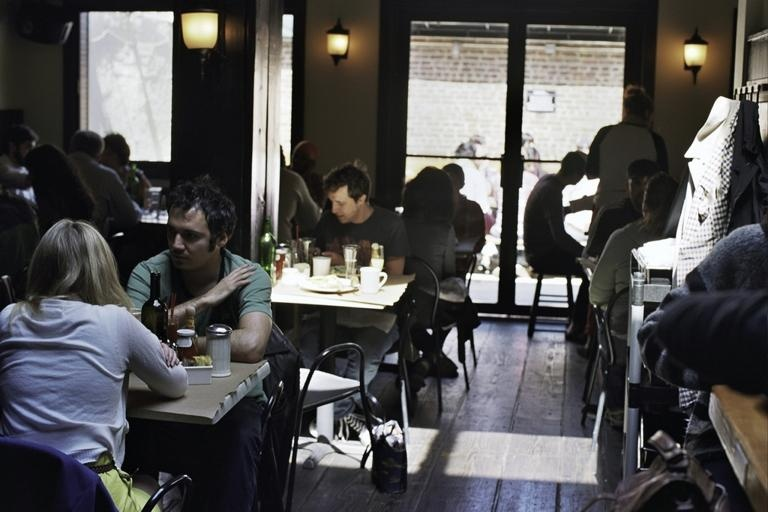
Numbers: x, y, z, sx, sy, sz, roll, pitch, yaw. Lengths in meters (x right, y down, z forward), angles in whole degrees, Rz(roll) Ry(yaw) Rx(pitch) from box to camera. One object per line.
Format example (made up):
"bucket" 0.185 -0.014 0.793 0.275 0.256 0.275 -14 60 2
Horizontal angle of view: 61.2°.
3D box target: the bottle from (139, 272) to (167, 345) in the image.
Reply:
"bottle" -0.960 0.190 2.705 0.101 0.281 0.246 -2 10 -22

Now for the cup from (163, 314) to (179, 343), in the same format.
"cup" -0.870 0.288 2.644 0.044 0.117 0.179 -1 10 -19

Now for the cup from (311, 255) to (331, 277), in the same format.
"cup" -0.404 0.057 4.252 0.105 0.127 0.119 3 10 16

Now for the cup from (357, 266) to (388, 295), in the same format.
"cup" -0.070 0.143 3.973 0.166 0.149 0.118 4 5 3

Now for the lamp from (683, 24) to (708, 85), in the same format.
"lamp" 3.136 -2.017 6.552 0.237 0.542 0.086 1 8 -6

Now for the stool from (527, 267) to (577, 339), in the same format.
"stool" 1.757 0.498 6.843 0.526 0.881 0.584 1 -3 3

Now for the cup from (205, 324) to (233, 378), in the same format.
"cup" -0.670 0.373 2.635 0.092 0.205 0.124 0 9 -15

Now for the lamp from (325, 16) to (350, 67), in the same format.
"lamp" -0.505 -2.297 6.987 0.222 0.484 0.078 3 4 -3

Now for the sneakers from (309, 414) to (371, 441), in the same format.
"sneakers" -0.271 1.053 3.973 0.241 0.135 0.340 4 10 12
